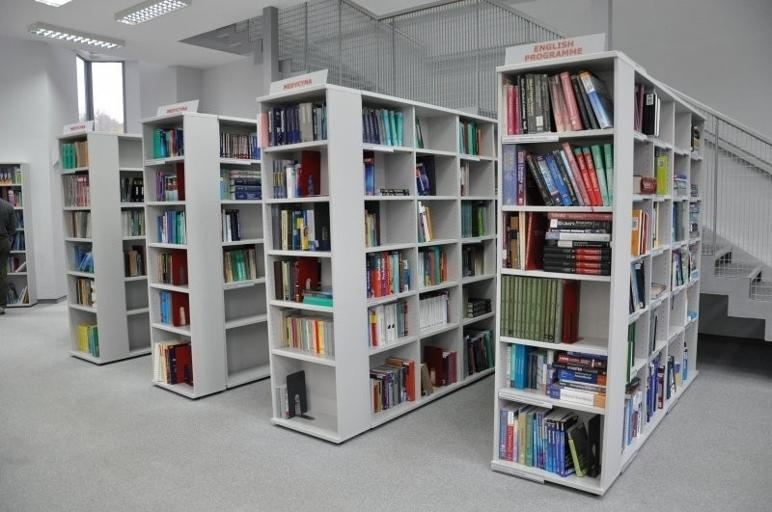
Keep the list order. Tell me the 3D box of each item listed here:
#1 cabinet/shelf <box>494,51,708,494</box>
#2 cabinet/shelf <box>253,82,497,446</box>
[{"bbox_3d":[2.088,0.266,5.938,1.259,3.948,4.300,1,6,25],"label":"cabinet/shelf"},{"bbox_3d":[-0.134,0.164,6.810,1.135,3.884,3.858,2,5,33],"label":"cabinet/shelf"}]
